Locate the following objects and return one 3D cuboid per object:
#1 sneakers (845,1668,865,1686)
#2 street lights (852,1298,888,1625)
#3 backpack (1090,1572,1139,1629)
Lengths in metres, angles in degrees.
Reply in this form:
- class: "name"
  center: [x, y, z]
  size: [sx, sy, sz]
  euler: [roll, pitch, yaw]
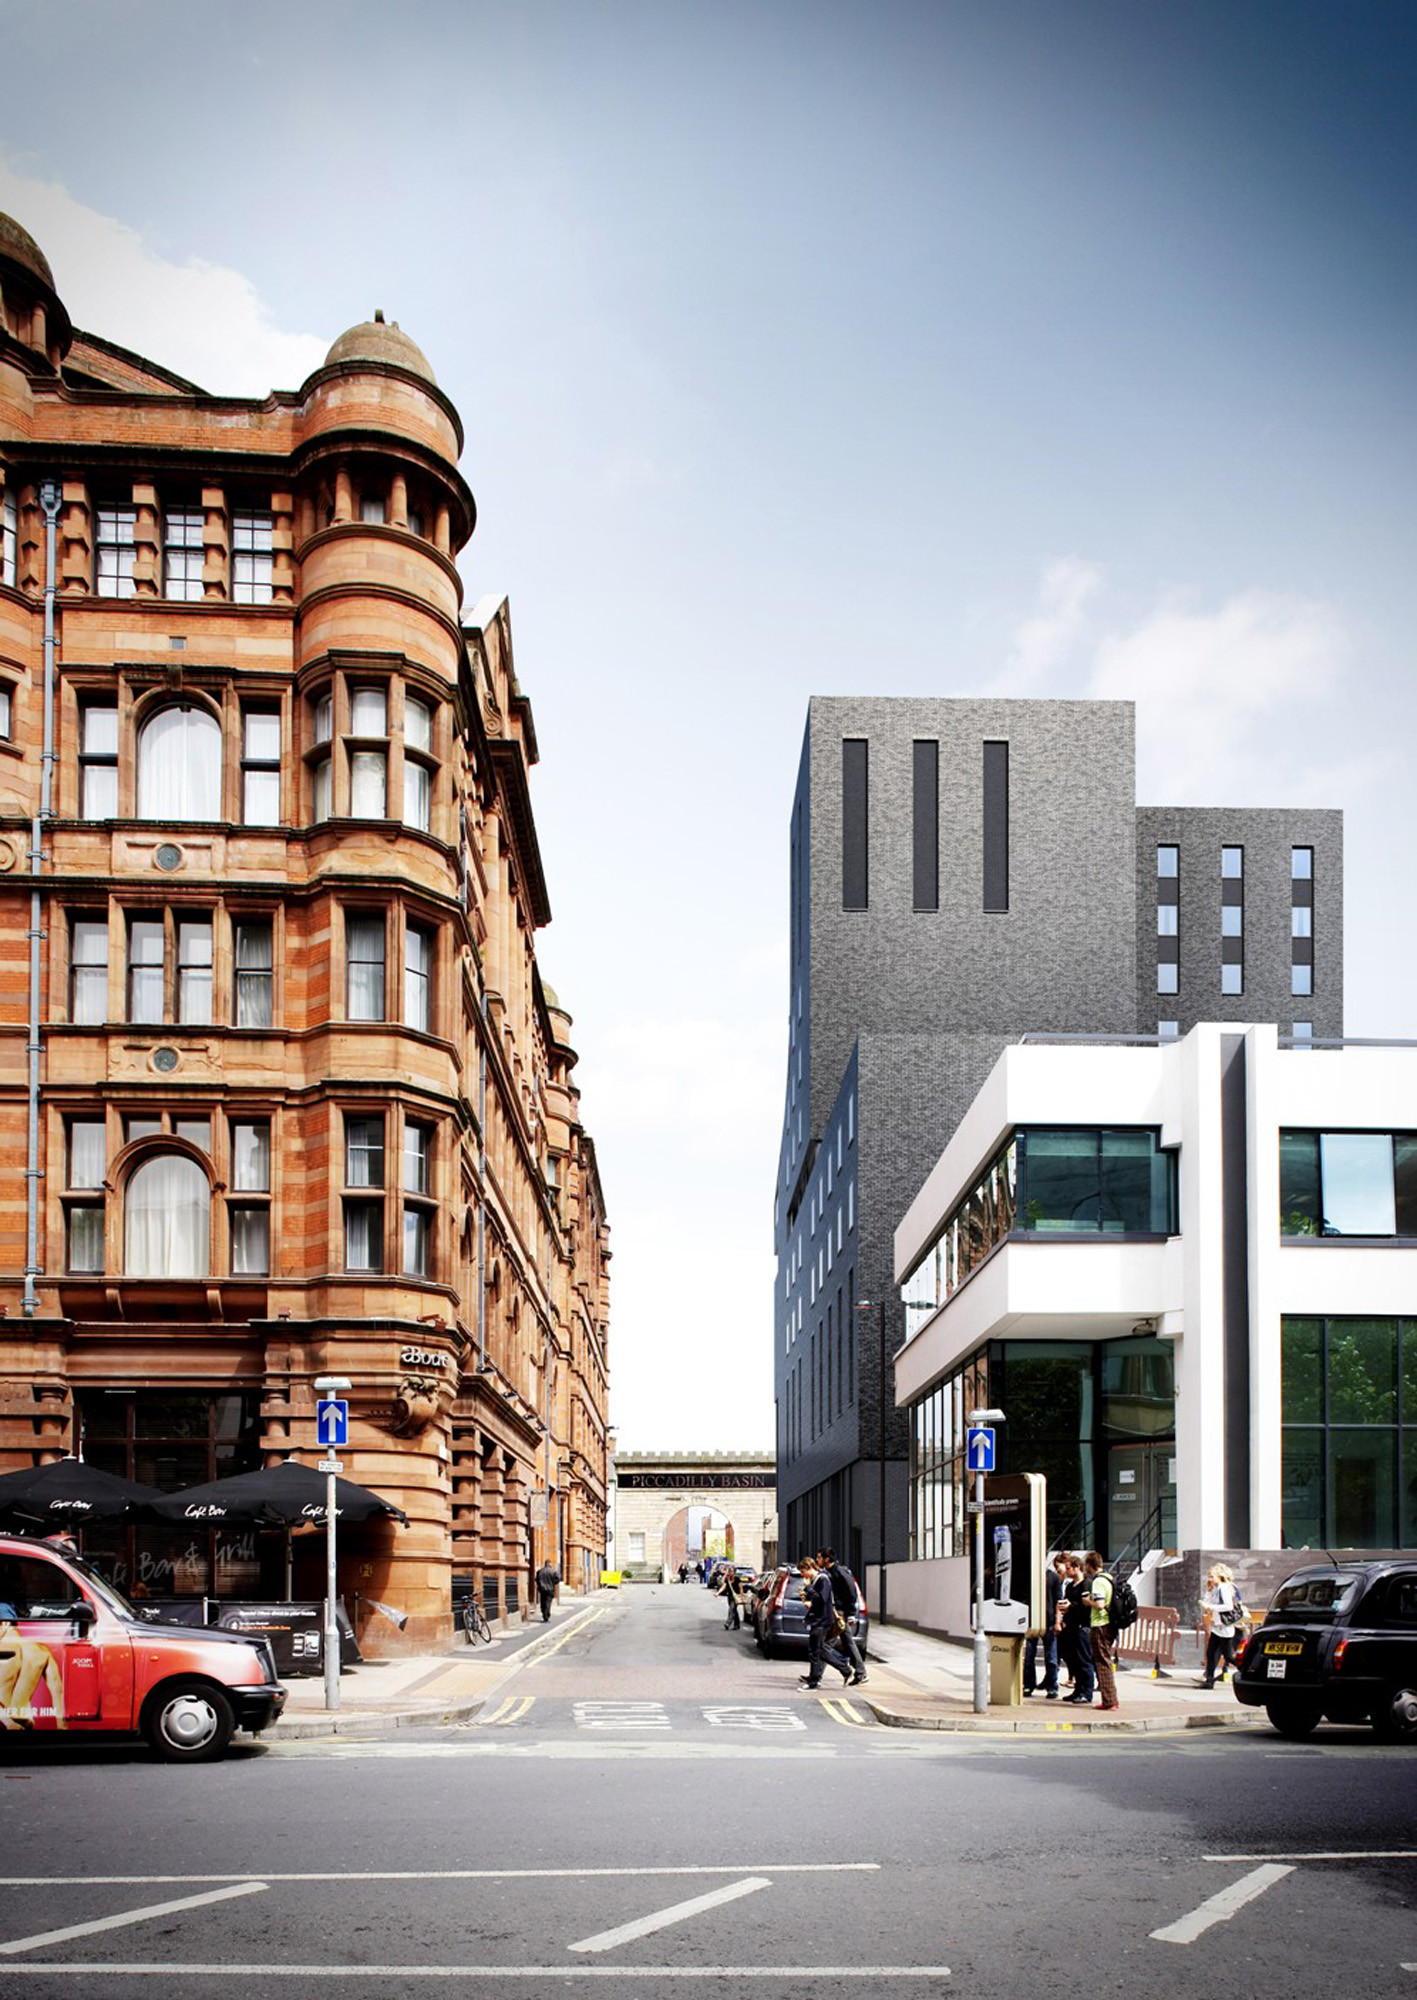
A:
- class: "sneakers"
  center: [1.552, 7.003, 29.637]
  size: [0.171, 0.159, 0.341]
  euler: [-1, -11, 0]
- class: "street lights"
  center: [3.664, 10.335, 65.503]
  size: [0.580, 5.983, 0.665]
  euler: [1, -16, -9]
- class: "backpack"
  center: [3.795, 5.631, 26.761]
  size: [0.503, 0.691, 0.450]
  euler: [-1, -4, 5]
